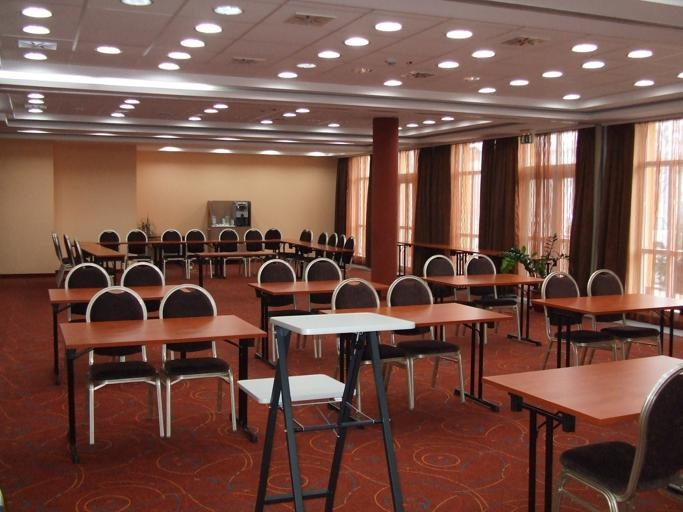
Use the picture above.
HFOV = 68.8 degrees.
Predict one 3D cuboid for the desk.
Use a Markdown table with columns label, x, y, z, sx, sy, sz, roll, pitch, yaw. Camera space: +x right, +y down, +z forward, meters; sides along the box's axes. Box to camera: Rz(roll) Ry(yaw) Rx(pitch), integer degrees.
| label | x | y | z | sx | sy | sz | roll | pitch | yaw |
| --- | --- | --- | --- | --- | --- | --- | --- | --- | --- |
| desk | -2.846 | 0.584 | 6.060 | 1.190 | 0.893 | 1.984 | 0 | 1 | -25 |

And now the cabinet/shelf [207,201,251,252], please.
| label | x | y | z | sx | sy | sz | roll | pitch | yaw |
| --- | --- | --- | --- | --- | --- | --- | --- | --- | --- |
| cabinet/shelf | -3.435 | -0.872 | 15.259 | 2.035 | 1.648 | 0.959 | -1 | 0 | -18 |
